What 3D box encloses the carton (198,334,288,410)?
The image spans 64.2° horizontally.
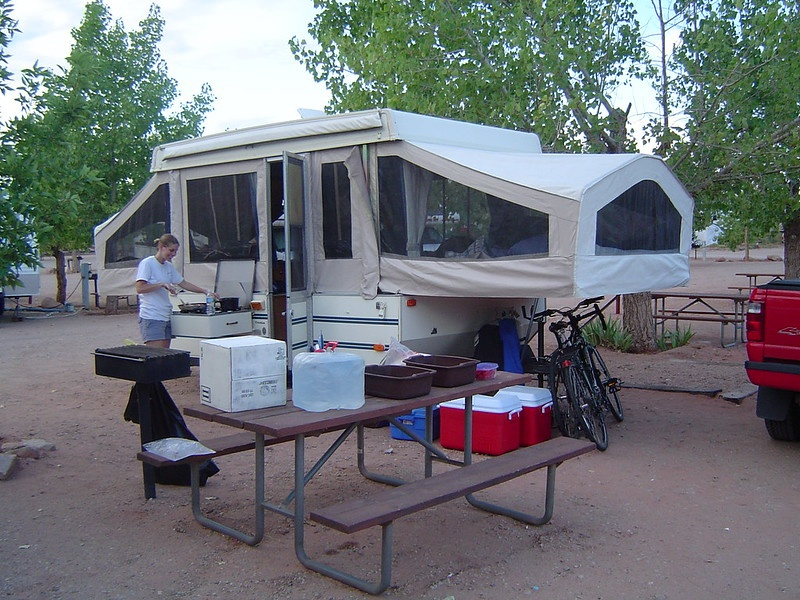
[{"bbox_3d":[-1.053,0.425,4.196,0.478,0.475,0.503,1,1,40],"label":"carton"}]

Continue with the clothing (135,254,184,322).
[{"bbox_3d":[-2.875,-0.151,7.675,0.457,0.881,0.842,3,4,13],"label":"clothing"}]

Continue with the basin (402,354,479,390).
[{"bbox_3d":[0.301,0.485,4.642,0.291,0.123,0.329,-3,2,-44],"label":"basin"}]

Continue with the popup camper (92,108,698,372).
[{"bbox_3d":[-0.268,-0.742,8.058,6.174,2.440,3.068,2,7,34],"label":"popup camper"}]

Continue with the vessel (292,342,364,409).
[{"bbox_3d":[-0.477,0.476,4.172,0.400,0.355,0.382,1,-1,-35],"label":"vessel"}]

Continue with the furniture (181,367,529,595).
[{"bbox_3d":[-0.546,0.818,4.398,1.478,0.957,2.029,1,3,39],"label":"furniture"}]

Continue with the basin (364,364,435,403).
[{"bbox_3d":[-0.005,0.552,4.381,0.463,0.170,0.434,0,7,0],"label":"basin"}]

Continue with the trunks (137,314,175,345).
[{"bbox_3d":[-2.948,0.324,7.660,0.277,0.296,0.406,17,8,41],"label":"trunks"}]

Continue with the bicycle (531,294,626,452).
[{"bbox_3d":[2.023,0.721,7.354,0.801,1.601,2.544,-6,11,19],"label":"bicycle"}]

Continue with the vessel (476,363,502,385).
[{"bbox_3d":[0.672,0.559,4.864,0.168,0.074,0.192,-2,-2,1],"label":"vessel"}]

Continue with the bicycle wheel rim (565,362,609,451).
[{"bbox_3d":[1.953,1.066,6.578,0.450,0.818,0.704,5,9,35],"label":"bicycle wheel rim"}]
